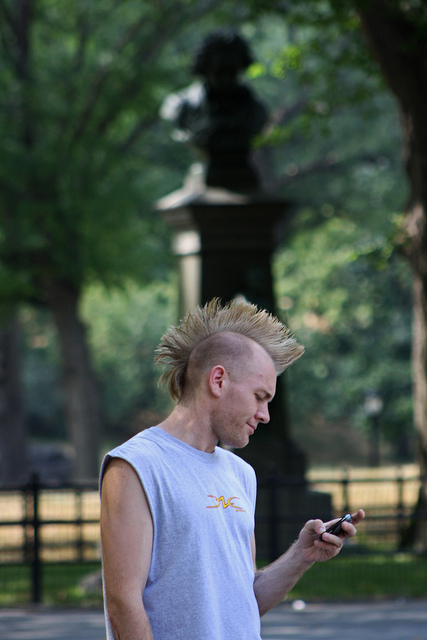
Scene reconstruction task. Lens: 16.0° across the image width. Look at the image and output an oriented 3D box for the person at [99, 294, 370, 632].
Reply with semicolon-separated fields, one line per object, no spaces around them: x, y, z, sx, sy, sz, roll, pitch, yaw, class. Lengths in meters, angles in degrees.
-0.065;0.582;6.258;0.789;1.357;0.369;3;-6;-10;person
